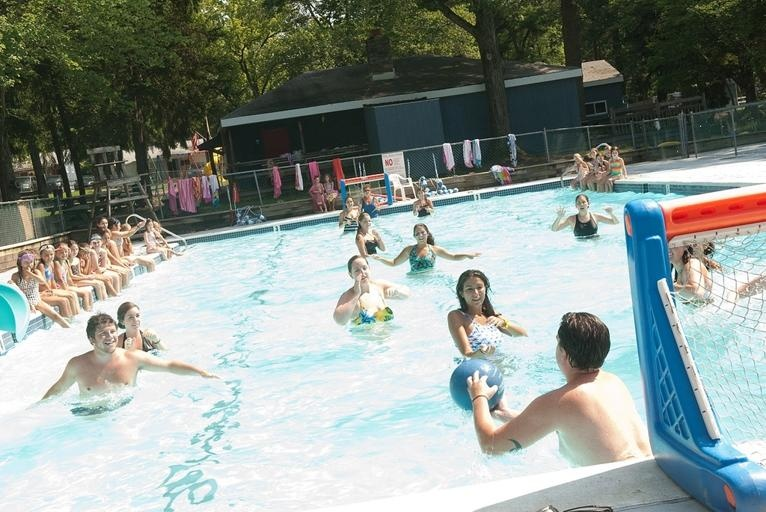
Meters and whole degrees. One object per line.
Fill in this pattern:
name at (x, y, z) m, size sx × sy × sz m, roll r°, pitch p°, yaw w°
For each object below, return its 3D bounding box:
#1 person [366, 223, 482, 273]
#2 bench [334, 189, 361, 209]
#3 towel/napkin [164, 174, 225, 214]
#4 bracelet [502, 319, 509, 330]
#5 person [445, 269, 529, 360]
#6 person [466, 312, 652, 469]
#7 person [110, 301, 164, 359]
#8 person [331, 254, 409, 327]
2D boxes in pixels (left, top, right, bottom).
person at (0.771, -0.305, 11.406) m, size 1.528 × 1.172 × 3.215 m, roll -1°, pitch -9°, yaw 3°
bench at (-1.357, -2.170, 21.622) m, size 0.972 × 0.644 × 1.371 m, roll -10°, pitch 7°, yaw -4°
towel/napkin at (-7.188, -2.324, 21.733) m, size 1.517 × 1.184 × 0.285 m, roll -2°, pitch 6°, yaw -11°
bracelet at (1.481, 0.830, 6.868) m, size 0.033 × 0.099 × 0.099 m, roll 4°, pitch 5°, yaw -6°
person at (1.086, 0.649, 6.833) m, size 0.647 × 1.102 × 1.224 m, roll 0°, pitch -1°, yaw 4°
person at (1.277, 0.975, 4.159) m, size 1.142 × 1.001 × 0.504 m, roll -6°, pitch 8°, yaw 24°
person at (-3.434, 1.076, 7.904) m, size 0.638 × 0.784 × 0.537 m, roll 13°, pitch 21°, yaw 40°
person at (-0.250, 0.509, 8.753) m, size 0.743 × 1.131 × 0.937 m, roll -3°, pitch 9°, yaw 39°
